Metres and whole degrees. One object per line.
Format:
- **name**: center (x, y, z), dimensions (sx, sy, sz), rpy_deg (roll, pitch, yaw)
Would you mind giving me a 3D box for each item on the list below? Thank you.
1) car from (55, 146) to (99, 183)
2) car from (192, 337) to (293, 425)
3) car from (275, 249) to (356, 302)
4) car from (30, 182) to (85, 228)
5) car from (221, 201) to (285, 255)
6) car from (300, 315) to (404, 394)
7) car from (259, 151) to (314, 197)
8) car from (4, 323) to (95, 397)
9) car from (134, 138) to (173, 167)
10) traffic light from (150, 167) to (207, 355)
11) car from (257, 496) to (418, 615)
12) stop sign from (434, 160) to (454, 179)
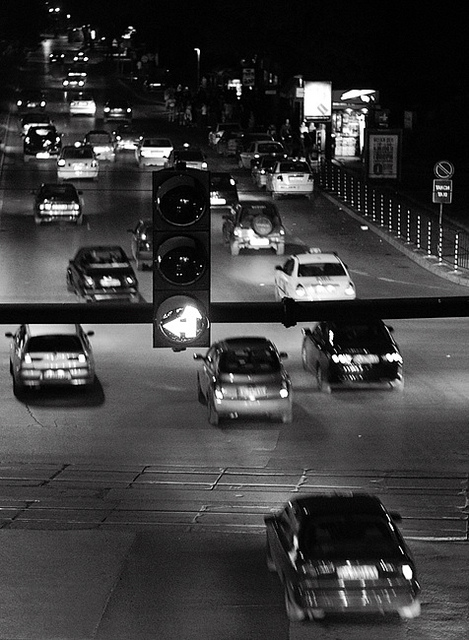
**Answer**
- **car**: center (-10.863, -10.705, 44.851), dimensions (2.706, 2.351, 1.269), rpy_deg (-5, 10, -25)
- **car**: center (0.245, 1.574, 17.128), dimensions (1.451, 1.243, 2.665), rpy_deg (-1, 16, -2)
- **car**: center (3.246, -1.363, 25.995), dimensions (2.485, 2.525, 6.162), rpy_deg (-3, 7, -2)
- **car**: center (-9.822, -6.424, 36.115), dimensions (2.622, 2.098, 0.706), rpy_deg (2, 9, 18)
- **car**: center (1.031, -4.501, 32.232), dimensions (2.845, 2.586, 1.564), rpy_deg (0, 9, 5)
- **car**: center (3.485, 1.011, 18.898), dimensions (2.829, 1.874, 1.672), rpy_deg (1, 9, 12)
- **car**: center (3.381, -9.788, 44.541), dimensions (3.111, 2.810, 5.188), rpy_deg (-2, 10, -5)
- **car**: center (-5.256, 1.042, 18.792), dimensions (2.404, 1.979, 1.580), rpy_deg (-1, 9, 2)
- **car**: center (-6.299, -12.984, 50.550), dimensions (3.208, 2.176, 1.420), rpy_deg (5, 10, 29)
- **traffic light**: center (-0.166, -0.176, 1.929), dimensions (0.162, 0.524, 0.241), rpy_deg (-2, 8, -7)
- **car**: center (1.163, 2.631, 7.185), dimensions (1.308, 0.835, 1.640), rpy_deg (-3, 10, -14)
- **stop sign**: center (9.977, -7.087, 30.896), dimensions (0.739, 0.841, 0.991), rpy_deg (3, 10, 20)
